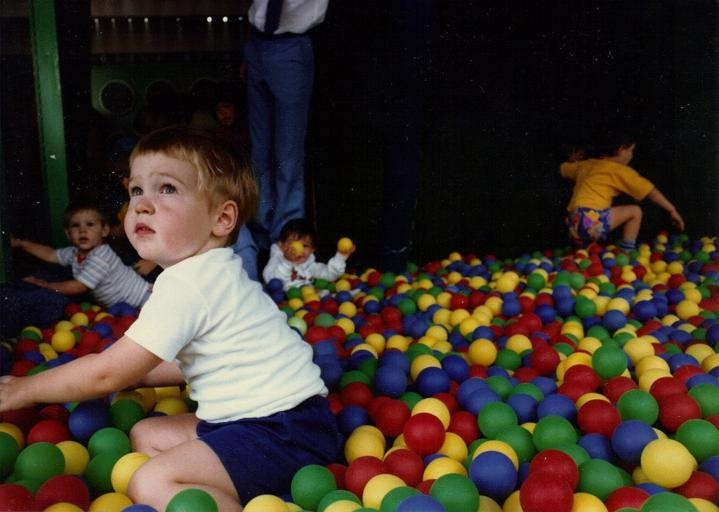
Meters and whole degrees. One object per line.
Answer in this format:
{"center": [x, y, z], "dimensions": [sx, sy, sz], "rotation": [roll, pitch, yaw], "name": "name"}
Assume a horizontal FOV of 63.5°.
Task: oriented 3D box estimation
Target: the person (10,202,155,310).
{"center": [-1.469, 0.017, 3.214], "dimensions": [0.294, 0.567, 0.922], "rotation": [9, -3, 23], "name": "person"}

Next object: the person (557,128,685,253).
{"center": [1.936, -0.453, 4.438], "dimensions": [0.585, 0.947, 1.051], "rotation": [-12, 20, -26], "name": "person"}
